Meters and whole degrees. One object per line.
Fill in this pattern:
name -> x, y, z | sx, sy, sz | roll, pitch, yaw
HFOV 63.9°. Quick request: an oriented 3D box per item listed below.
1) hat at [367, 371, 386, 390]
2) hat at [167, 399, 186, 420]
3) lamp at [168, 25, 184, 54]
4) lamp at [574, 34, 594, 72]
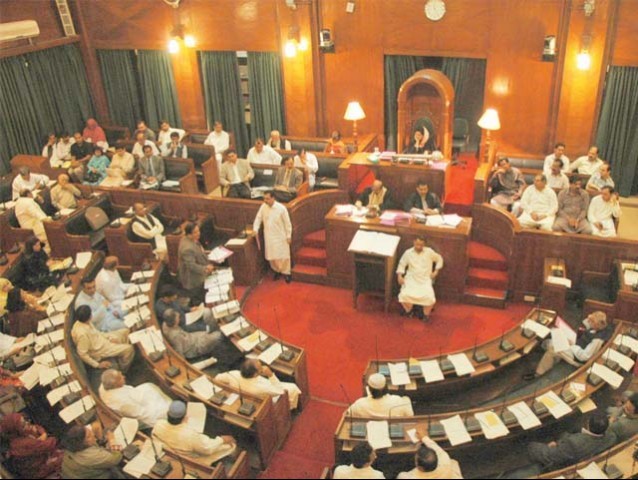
hat -> 0.734, 1.787, 6.494 | 0.220, 0.170, 0.217 | -3, 21, 1
hat -> -1.723, 2.090, 6.224 | 0.213, 0.224, 0.199 | -5, 20, -4
lamp -> -3.725, -5.268, 13.386 | 0.424, 0.680, 0.356 | -8, 21, -14
lamp -> 5.543, -3.907, 10.737 | 0.466, 0.825, 0.488 | -6, 18, 7
